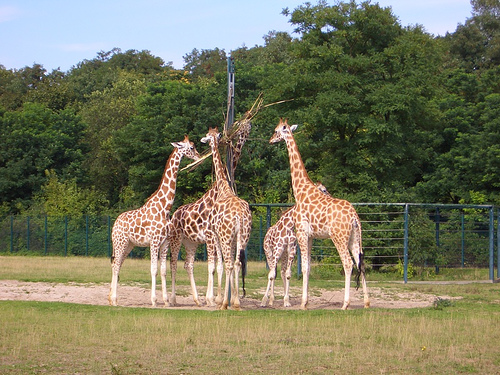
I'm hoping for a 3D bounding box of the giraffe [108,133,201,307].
[{"bbox_3d":[-3.454,1.150,35.328,2.623,6.147,1.097,3,-7,-9],"label":"giraffe"}]

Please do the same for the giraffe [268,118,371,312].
[{"bbox_3d":[2.270,0.957,35.435,4.025,6.936,1.394,-2,-9,33],"label":"giraffe"}]

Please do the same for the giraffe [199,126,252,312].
[{"bbox_3d":[-0.678,1.181,35.531,2.005,6.311,1.950,0,-3,19],"label":"giraffe"}]
